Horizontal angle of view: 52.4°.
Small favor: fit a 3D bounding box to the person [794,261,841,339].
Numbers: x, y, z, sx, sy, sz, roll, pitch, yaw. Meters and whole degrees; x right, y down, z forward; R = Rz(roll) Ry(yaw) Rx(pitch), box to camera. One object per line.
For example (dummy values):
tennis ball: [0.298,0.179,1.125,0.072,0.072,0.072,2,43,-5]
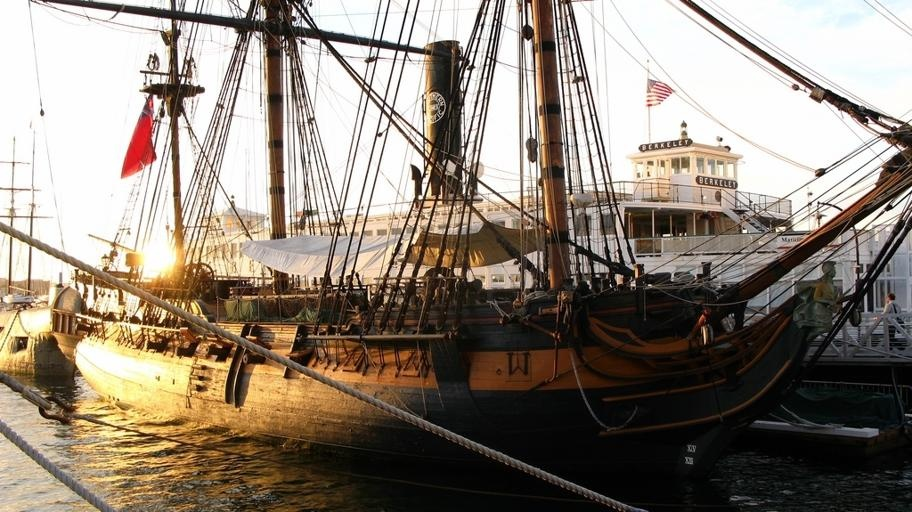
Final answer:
person: [10.806,1.327,27.809,1.260,2.426,0.755,2,17,15]
